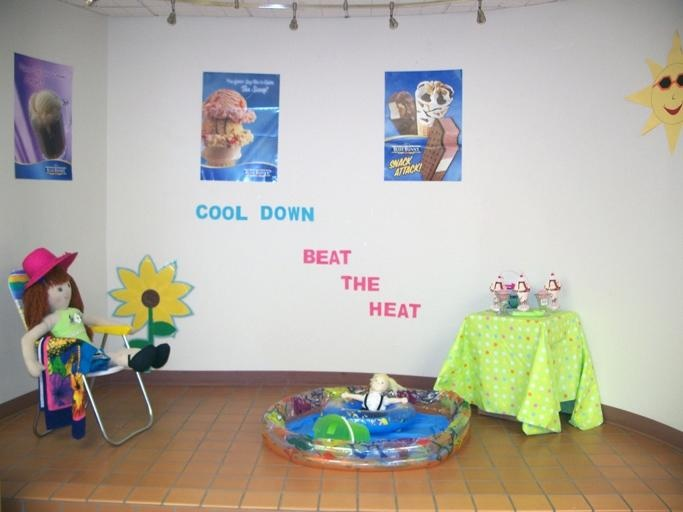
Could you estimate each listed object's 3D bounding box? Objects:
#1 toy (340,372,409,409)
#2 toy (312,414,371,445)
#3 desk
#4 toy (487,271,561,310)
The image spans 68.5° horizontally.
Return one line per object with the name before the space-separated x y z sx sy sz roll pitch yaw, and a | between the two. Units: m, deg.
toy | 0.271 1.121 4.120 0.531 0.206 0.331 0 11 0
toy | -0.003 1.278 3.783 0.294 0.117 0.218 0 -9 26
desk | 1.678 0.782 4.561 1.029 0.832 0.927 1 5 34
toy | 1.707 0.347 4.653 0.591 0.366 0.491 5 12 25
